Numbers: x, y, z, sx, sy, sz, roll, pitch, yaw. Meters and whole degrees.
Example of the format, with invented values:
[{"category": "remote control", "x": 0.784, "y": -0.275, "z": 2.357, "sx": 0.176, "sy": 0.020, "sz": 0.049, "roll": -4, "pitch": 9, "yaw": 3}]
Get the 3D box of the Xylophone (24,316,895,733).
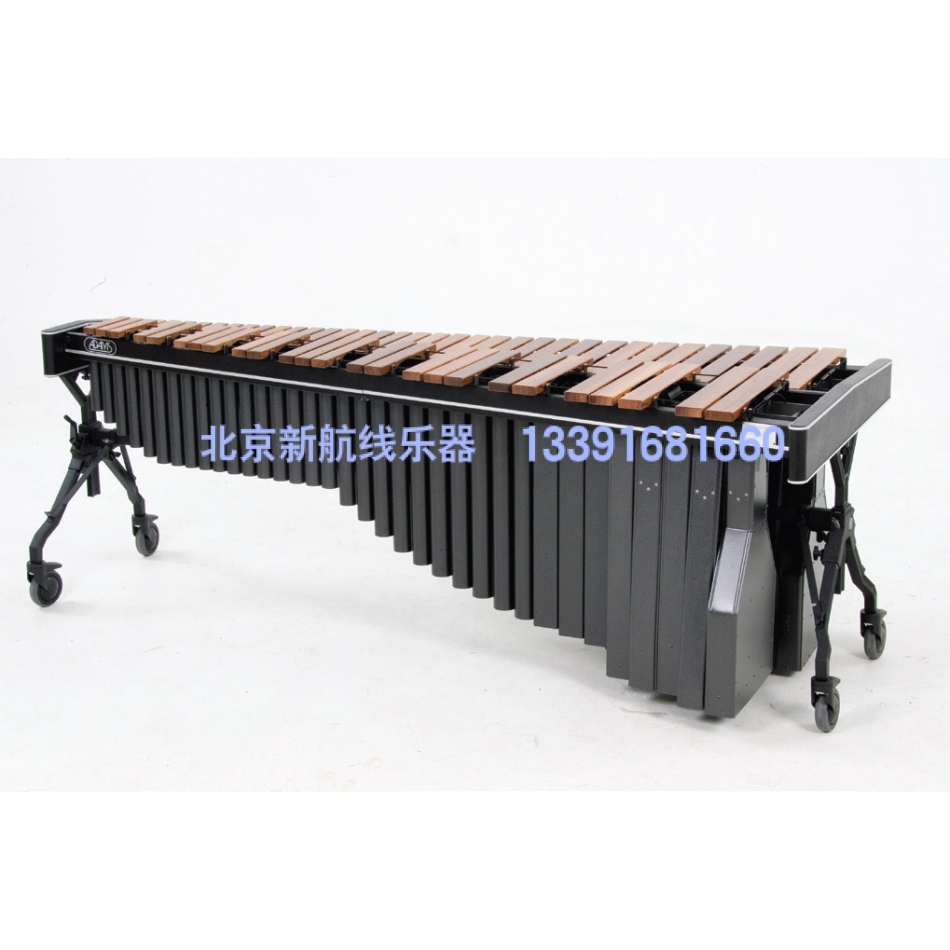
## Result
[{"category": "Xylophone", "x": -0.187, "y": 0.023, "z": 3.667, "sx": 2.932, "sy": 1.060, "sz": 0.987, "roll": 6, "pitch": 14, "yaw": 27}]
